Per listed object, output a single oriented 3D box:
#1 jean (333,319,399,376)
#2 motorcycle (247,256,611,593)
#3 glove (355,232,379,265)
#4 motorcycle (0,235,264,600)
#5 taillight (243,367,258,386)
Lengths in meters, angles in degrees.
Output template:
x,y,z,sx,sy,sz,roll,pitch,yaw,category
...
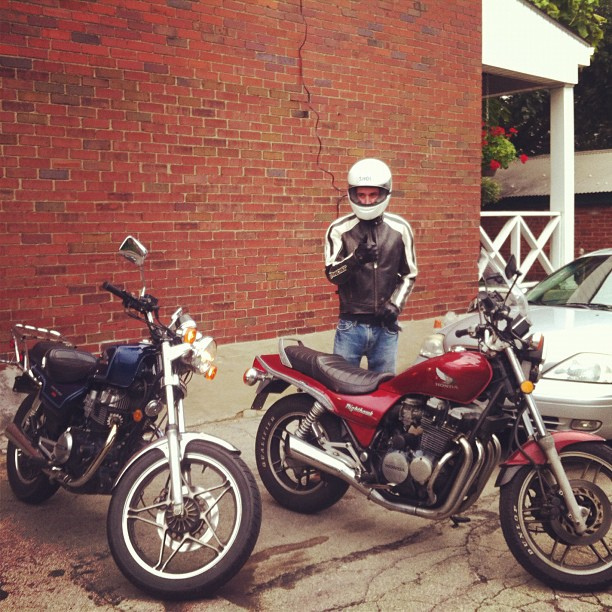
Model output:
x,y,z,sx,sy,sz,roll,pitch,yaw,category
0.408,0.313,4.368,0.419,0.486,0.188,2,22,2,jean
0.669,0.529,3.313,1.762,1.540,0.480,7,12,35,motorcycle
0.363,-0.333,3.809,0.138,0.156,0.077,11,16,3,glove
-0.930,0.601,3.291,0.574,1.414,1.716,-9,13,-42,motorcycle
-0.313,0.437,3.880,0.112,0.085,0.111,1,-5,1,taillight
